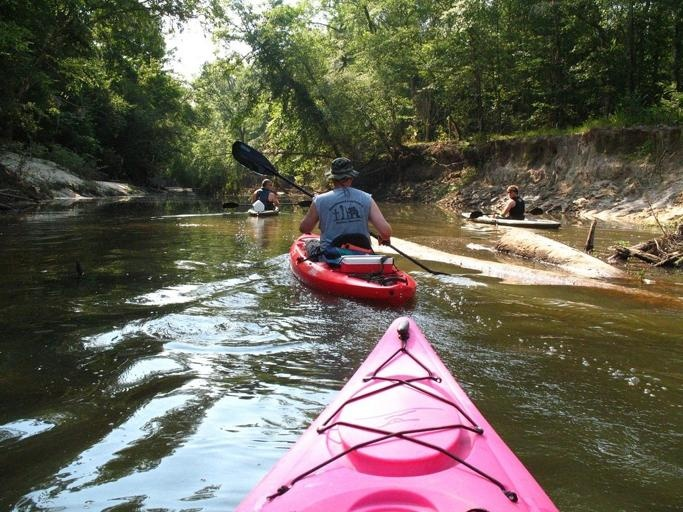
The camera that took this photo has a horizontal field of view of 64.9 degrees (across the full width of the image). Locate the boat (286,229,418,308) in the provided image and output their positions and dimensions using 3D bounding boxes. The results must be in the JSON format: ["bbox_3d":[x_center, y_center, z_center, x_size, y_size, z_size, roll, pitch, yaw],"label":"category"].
[{"bbox_3d":[0.072,0.160,6.769,0.762,0.343,1.498,0,11,-32],"label":"boat"}]

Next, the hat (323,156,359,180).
[{"bbox_3d":[-0.021,-1.138,7.043,0.388,0.275,0.501,-1,11,-2],"label":"hat"}]

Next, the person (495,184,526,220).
[{"bbox_3d":[4.538,-1.324,14.408,0.661,1.098,0.757,-26,27,-32],"label":"person"}]
